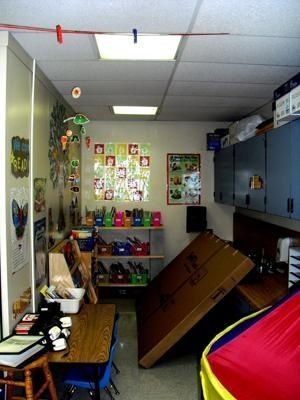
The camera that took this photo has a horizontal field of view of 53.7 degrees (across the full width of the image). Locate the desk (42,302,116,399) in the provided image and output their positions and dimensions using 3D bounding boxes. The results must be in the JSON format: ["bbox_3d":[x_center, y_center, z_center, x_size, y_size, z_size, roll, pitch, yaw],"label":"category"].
[{"bbox_3d":[-0.488,1.004,2.163,0.443,0.452,0.882,1,4,2],"label":"desk"}]

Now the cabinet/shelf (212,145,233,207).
[{"bbox_3d":[1.037,-0.364,4.236,0.262,0.815,0.842,1,3,-2],"label":"cabinet/shelf"}]

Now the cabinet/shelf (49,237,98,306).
[{"bbox_3d":[-0.802,0.729,3.018,0.296,0.753,0.732,-8,8,-2],"label":"cabinet/shelf"}]
